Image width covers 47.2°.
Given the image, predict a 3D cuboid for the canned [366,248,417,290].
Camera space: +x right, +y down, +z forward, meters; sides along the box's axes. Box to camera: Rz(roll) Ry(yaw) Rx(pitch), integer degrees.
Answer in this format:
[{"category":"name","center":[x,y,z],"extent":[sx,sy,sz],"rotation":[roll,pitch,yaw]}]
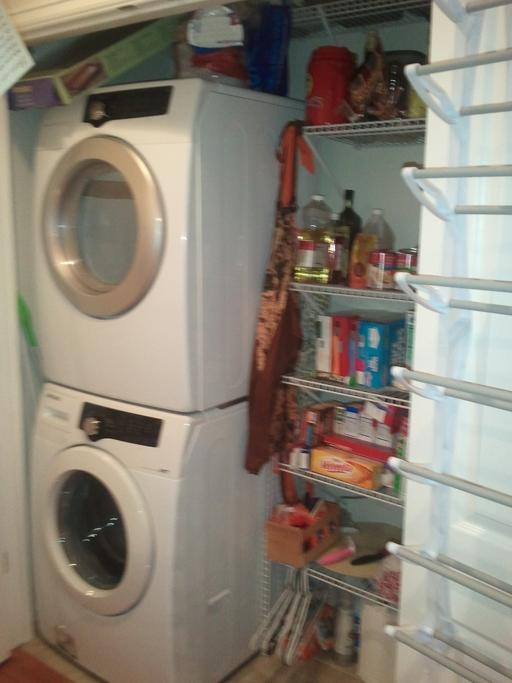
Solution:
[{"category":"canned","center":[0.302,-0.163,1.319],"extent":[0.097,0.121,0.166],"rotation":[-2,5,-22]}]
